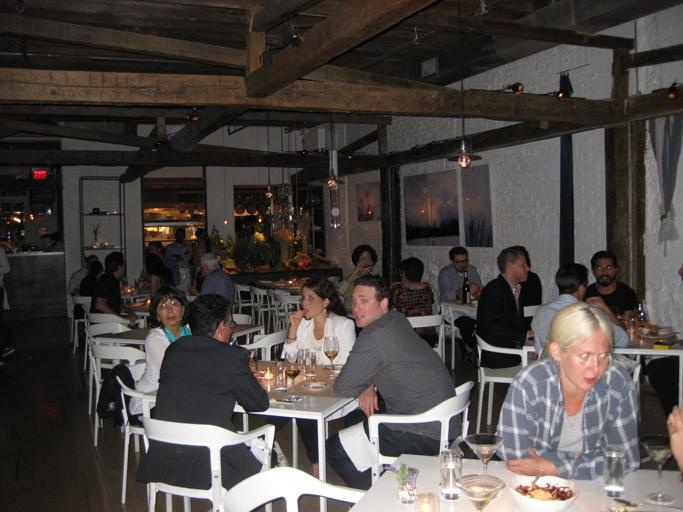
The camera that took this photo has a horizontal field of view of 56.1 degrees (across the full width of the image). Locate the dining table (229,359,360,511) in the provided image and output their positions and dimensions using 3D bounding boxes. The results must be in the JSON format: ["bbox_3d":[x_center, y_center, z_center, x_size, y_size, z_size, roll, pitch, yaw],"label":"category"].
[{"bbox_3d":[-0.357,1.276,4.642,0.862,0.863,0.872,0,4,16],"label":"dining table"}]

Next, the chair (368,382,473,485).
[{"bbox_3d":[0.615,1.081,4.443,0.563,0.828,0.782,-1,-3,26],"label":"chair"}]

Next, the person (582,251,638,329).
[{"bbox_3d":[2.677,0.364,6.466,0.561,0.872,0.471,-1,2,29],"label":"person"}]

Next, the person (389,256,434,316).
[{"bbox_3d":[0.752,0.330,7.159,0.546,0.901,0.588,0,3,-8],"label":"person"}]

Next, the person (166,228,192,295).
[{"bbox_3d":[-3.343,0.327,13.294,0.558,1.769,0.498,-4,1,-27],"label":"person"}]

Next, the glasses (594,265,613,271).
[{"bbox_3d":[2.601,0.114,6.329,0.147,0.051,0.056,-2,2,3],"label":"glasses"}]

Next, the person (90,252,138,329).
[{"bbox_3d":[-2.812,0.416,7.950,0.574,0.945,0.628,4,5,18],"label":"person"}]

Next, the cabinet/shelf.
[{"bbox_3d":[-4.958,-0.447,13.226,0.819,2.114,0.313,-2,6,-32],"label":"cabinet/shelf"}]

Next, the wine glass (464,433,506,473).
[{"bbox_3d":[0.736,1.068,3.273,0.191,0.216,0.172,26,-40,-31],"label":"wine glass"}]

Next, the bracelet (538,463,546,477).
[{"bbox_3d":[1.026,1.110,3.290,0.041,0.050,0.049,-1,-3,8],"label":"bracelet"}]

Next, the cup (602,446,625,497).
[{"bbox_3d":[1.356,1.064,3.164,0.155,0.230,0.082,-3,2,-31],"label":"cup"}]

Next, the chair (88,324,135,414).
[{"bbox_3d":[-2.463,1.136,6.886,0.440,0.664,0.550,-5,-21,2],"label":"chair"}]

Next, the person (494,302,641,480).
[{"bbox_3d":[1.236,0.726,3.492,0.765,0.930,0.343,-2,2,11],"label":"person"}]

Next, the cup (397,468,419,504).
[{"bbox_3d":[0.327,1.139,3.194,0.149,0.196,0.145,1,-10,0],"label":"cup"}]

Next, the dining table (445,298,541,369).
[{"bbox_3d":[1.625,0.993,7.480,0.722,1.136,0.717,-2,3,-4],"label":"dining table"}]
